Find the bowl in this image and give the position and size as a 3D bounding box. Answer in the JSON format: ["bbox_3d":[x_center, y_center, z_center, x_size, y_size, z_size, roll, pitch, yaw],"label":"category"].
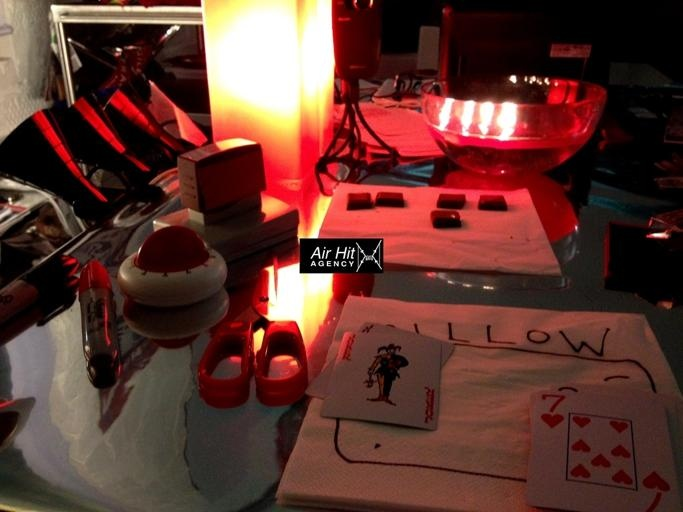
[{"bbox_3d":[0.273,-0.223,0.953,0.253,0.116,0.247,-3,19,1],"label":"bowl"}]
